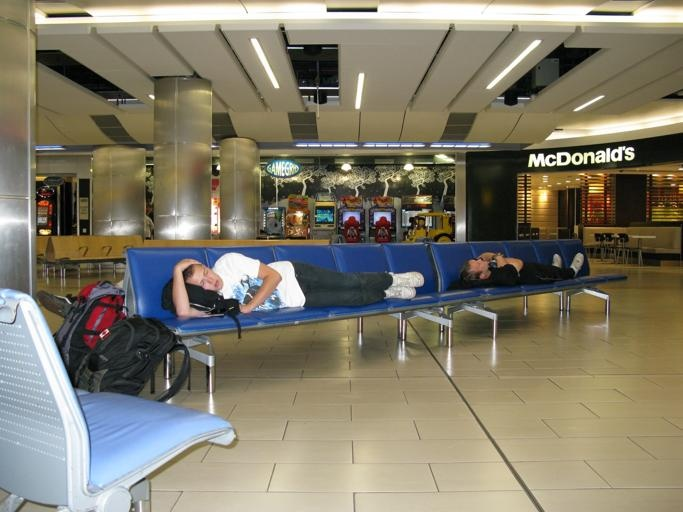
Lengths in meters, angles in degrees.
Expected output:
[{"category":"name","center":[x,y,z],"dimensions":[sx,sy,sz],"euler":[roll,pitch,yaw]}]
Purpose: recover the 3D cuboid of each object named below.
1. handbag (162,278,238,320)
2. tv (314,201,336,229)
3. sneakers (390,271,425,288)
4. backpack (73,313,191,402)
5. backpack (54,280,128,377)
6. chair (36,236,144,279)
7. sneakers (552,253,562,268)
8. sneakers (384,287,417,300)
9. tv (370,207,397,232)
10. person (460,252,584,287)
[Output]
[{"category":"handbag","center":[-0.939,0.278,3.549],"dimensions":[0.532,0.216,0.115],"euler":[12,-33,-15]},{"category":"tv","center":[-0.520,-1.303,16.816],"dimensions":[0.643,0.804,0.397],"euler":[0,13,1]},{"category":"sneakers","center":[0.512,0.197,4.540],"dimensions":[0.405,0.087,0.127],"euler":[-1,5,-8]},{"category":"backpack","center":[-1.113,0.628,2.961],"dimensions":[0.734,0.458,0.445],"euler":[12,-26,-15]},{"category":"backpack","center":[-1.320,0.391,2.823],"dimensions":[0.310,0.443,0.355],"euler":[21,-48,-24]},{"category":"chair","center":[-4.809,-0.034,10.066],"dimensions":[1.788,0.687,1.797],"euler":[-2,9,-13]},{"category":"sneakers","center":[2.389,0.053,5.928],"dimensions":[0.136,0.162,0.089],"euler":[-1,5,31]},{"category":"sneakers","center":[0.478,0.310,4.401],"dimensions":[0.324,0.068,0.101],"euler":[-1,7,1]},{"category":"tv","center":[1.308,-1.140,16.613],"dimensions":[1.214,0.714,0.527],"euler":[0,0,9]},{"category":"person","center":[1.702,0.137,5.295],"dimensions":[1.368,0.306,0.377],"euler":[-4,11,-24]}]
